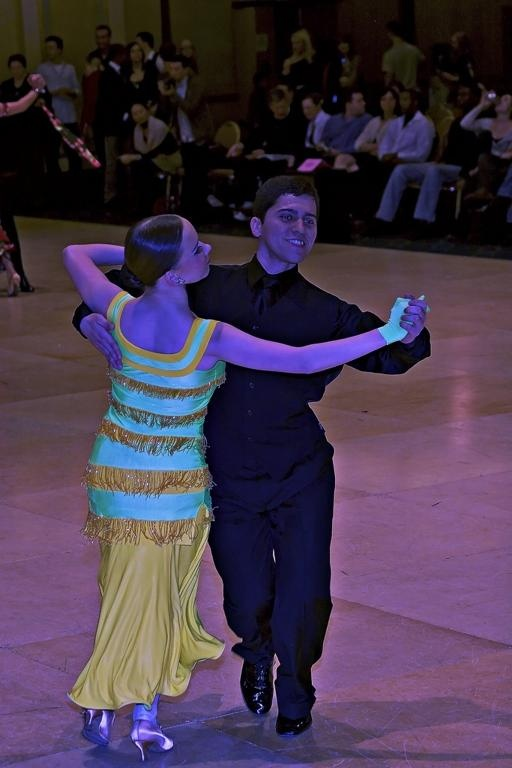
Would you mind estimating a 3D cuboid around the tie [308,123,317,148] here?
[{"bbox_3d":[0.994,-4.428,13.383,0.090,0.360,0.220,-13,23,-30],"label":"tie"}]

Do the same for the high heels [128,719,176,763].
[{"bbox_3d":[-0.249,0.867,1.862,0.064,0.085,0.172,-4,-1,11],"label":"high heels"}]

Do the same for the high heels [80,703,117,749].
[{"bbox_3d":[-0.418,0.868,1.926,0.056,0.060,0.172,9,-2,-23],"label":"high heels"}]

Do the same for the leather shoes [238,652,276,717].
[{"bbox_3d":[0.001,0.850,2.163,0.074,0.174,0.084,-3,-2,-4],"label":"leather shoes"}]

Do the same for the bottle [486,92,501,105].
[{"bbox_3d":[3.644,-4.476,11.661,0.235,0.187,0.067,-2,-7,-8],"label":"bottle"}]

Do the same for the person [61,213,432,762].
[{"bbox_3d":[-0.267,0.258,1.858,0.705,1.326,0.568,15,25,35],"label":"person"}]

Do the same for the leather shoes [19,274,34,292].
[{"bbox_3d":[-3.295,-1.459,10.862,0.211,0.230,0.209,3,19,9],"label":"leather shoes"}]
